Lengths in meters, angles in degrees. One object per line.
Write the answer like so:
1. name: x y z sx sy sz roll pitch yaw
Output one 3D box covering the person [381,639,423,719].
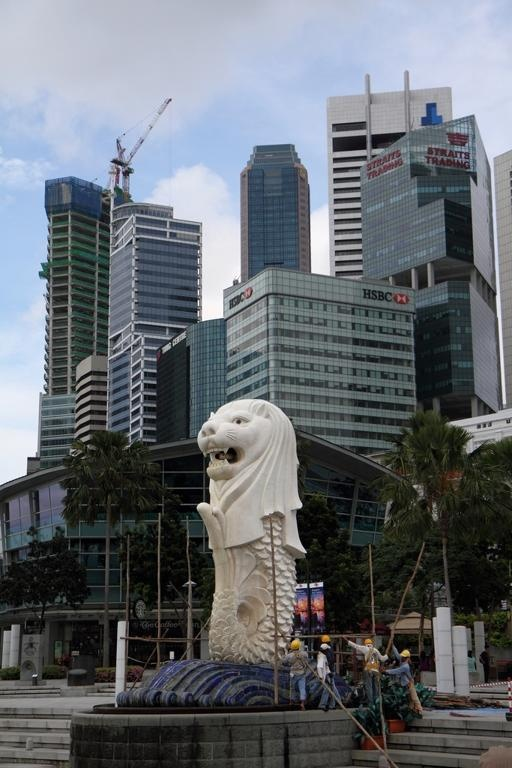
1. person: 3.250 6.423 27.678 0.853 1.568 0.439 0 3 14
